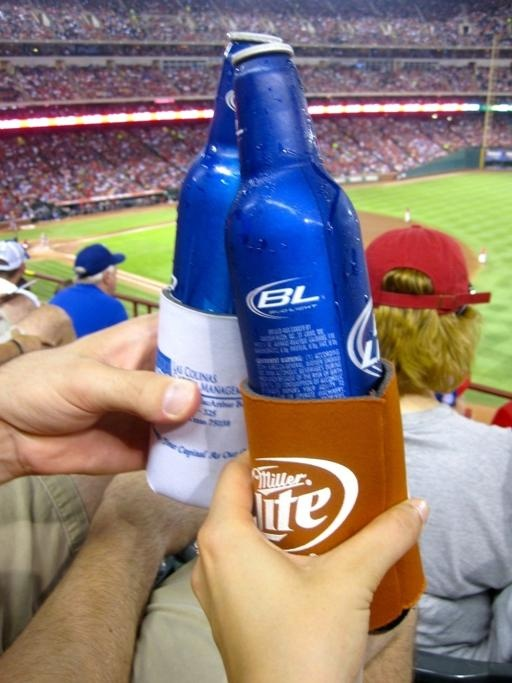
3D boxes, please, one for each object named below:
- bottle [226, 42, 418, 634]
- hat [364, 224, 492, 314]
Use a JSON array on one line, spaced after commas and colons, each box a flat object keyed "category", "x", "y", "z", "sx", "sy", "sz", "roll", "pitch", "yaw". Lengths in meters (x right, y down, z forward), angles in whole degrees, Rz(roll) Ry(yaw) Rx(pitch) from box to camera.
[{"category": "bottle", "x": 0.063, "y": -0.041, "z": 0.631, "sx": 0.177, "sy": 0.506, "sz": 0.246, "roll": -6, "pitch": 29, "yaw": -2}, {"category": "hat", "x": 0.437, "y": -0.209, "z": 1.570, "sx": 0.377, "sy": 0.196, "sz": 0.268, "roll": 0, "pitch": 16, "yaw": -3}]
